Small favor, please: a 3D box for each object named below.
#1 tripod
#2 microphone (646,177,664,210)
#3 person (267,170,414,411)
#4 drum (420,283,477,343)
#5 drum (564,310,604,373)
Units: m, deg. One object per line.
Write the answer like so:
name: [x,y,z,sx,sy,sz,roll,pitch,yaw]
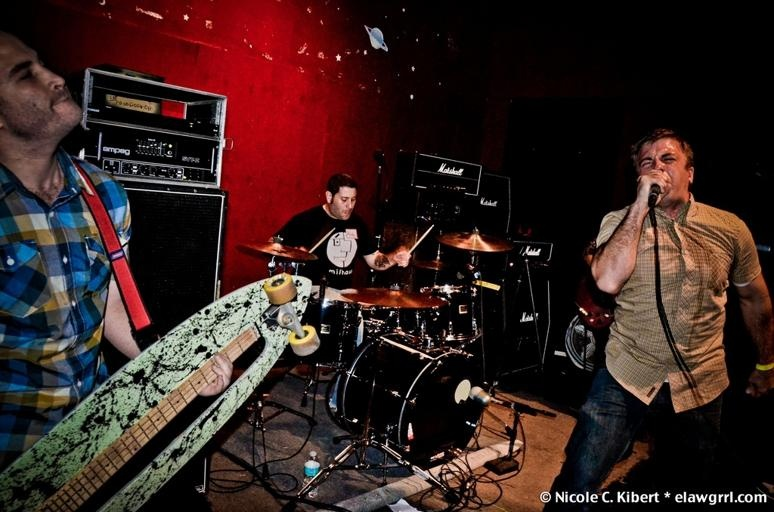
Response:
tripod: [0.074,1.094,3.600,0.926,0.991,0.565,4,7,8]
microphone: [1.407,-0.312,2.705,0.062,0.135,0.179,9,9,37]
person: [-0.480,0.000,5.002,1.291,1.555,0.783,-3,44,-18]
drum: [0.633,0.492,4.651,0.483,0.435,0.470,-2,8,-8]
drum: [1.759,0.737,4.806,0.664,0.553,0.199,29,-33,-35]
